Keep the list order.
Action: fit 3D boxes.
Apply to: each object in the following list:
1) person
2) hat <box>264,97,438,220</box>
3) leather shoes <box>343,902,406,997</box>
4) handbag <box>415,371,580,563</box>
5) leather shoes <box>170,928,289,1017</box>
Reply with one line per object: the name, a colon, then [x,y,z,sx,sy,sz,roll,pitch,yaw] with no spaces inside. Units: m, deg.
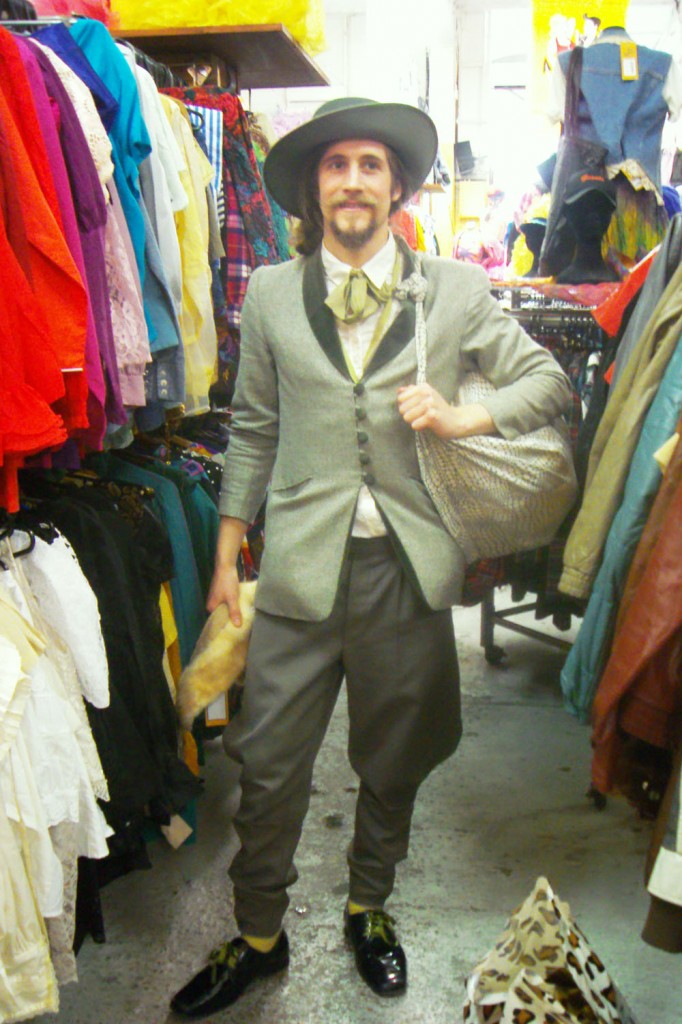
person: [0.051,0.110,1.469,0.672,1.669,0.470,2,10,13]
hat: [0.013,-0.640,1.440,0.321,0.123,0.305,0,9,1]
leather shoes: [0.074,0.875,1.565,0.062,0.068,0.169,-1,9,-13]
handbag: [0.264,-0.081,1.364,0.222,0.296,0.159,-31,4,5]
leather shoes: [-0.201,0.867,1.556,0.259,0.104,0.085,-16,42,-42]
